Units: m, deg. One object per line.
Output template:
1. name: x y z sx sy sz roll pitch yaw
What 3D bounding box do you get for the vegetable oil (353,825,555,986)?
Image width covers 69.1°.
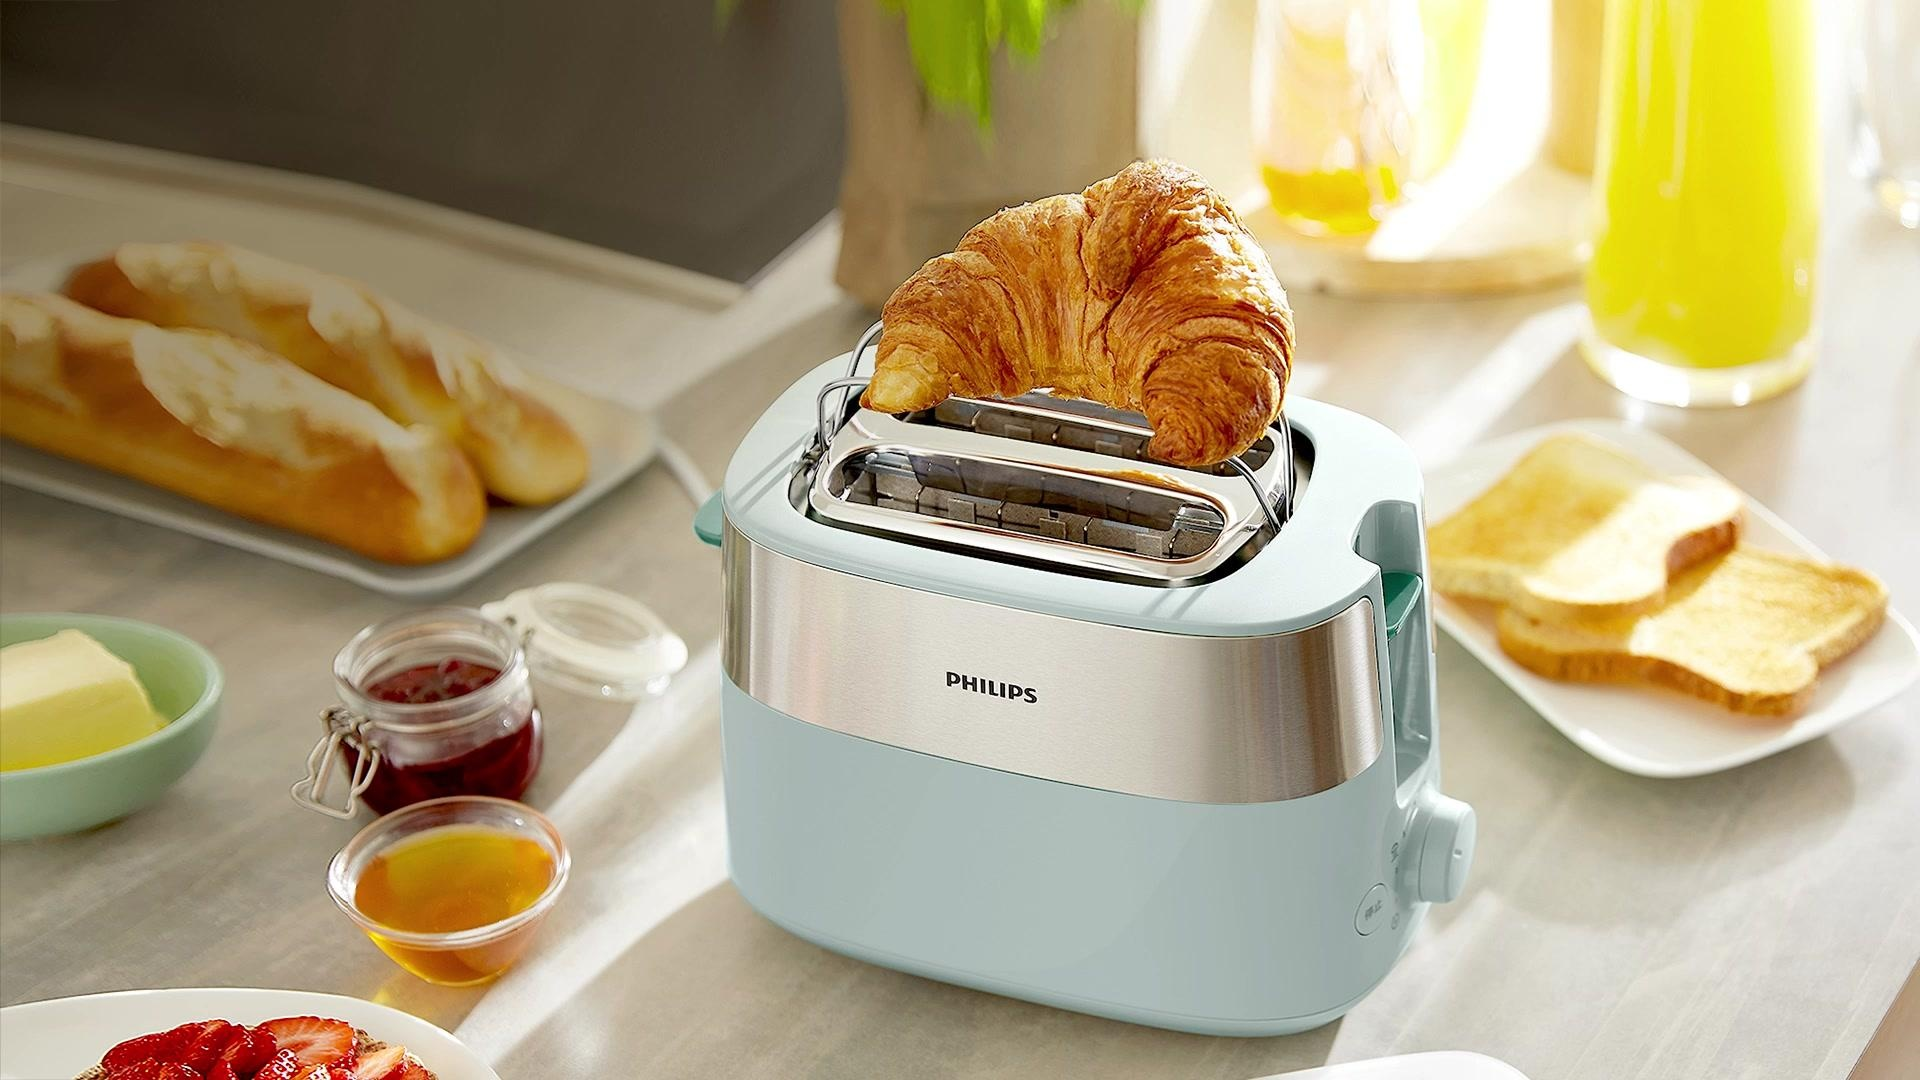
1. vegetable oil: -0.329 0.213 0.907 0.113 0.053 0.105 1 27 3

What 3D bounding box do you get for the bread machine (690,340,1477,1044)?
1. bread machine: 0.087 0.078 0.851 0.458 0.318 0.305 11 43 17

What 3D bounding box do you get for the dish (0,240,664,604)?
1. dish: -0.528 -0.073 1.111 0.447 0.042 0.260 18 38 21

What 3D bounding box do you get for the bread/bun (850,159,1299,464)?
1. bread/bun: 0.108 -0.134 0.844 0.324 0.171 0.131 2 47 34

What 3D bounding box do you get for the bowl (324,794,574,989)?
1. bowl: -0.326 0.192 0.890 0.142 0.062 0.130 0 33 0

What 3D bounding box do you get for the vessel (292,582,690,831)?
1. vessel: -0.330 0.108 1.028 0.147 0.090 0.239 30 46 29

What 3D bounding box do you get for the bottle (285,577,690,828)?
1. bottle: -0.330 0.103 1.019 0.147 0.090 0.239 30 46 29
